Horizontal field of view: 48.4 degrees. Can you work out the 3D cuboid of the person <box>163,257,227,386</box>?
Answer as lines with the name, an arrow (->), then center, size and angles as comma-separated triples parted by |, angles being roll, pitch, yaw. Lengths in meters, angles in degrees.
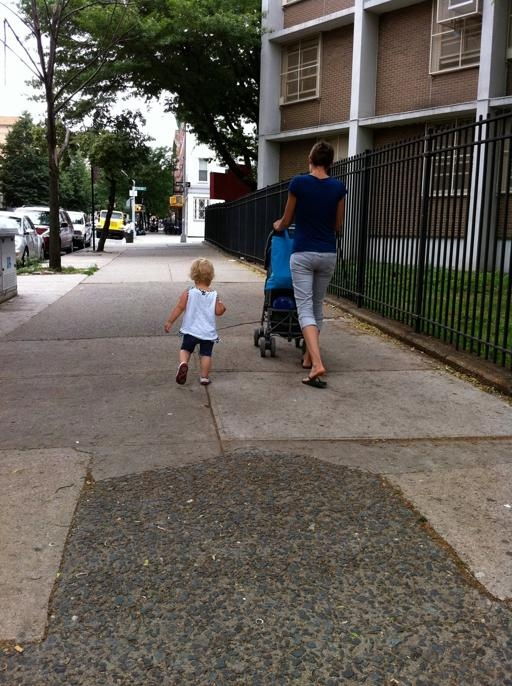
person -> -0.529, -0.167, 4.878 | 0.529, 1.069, 0.441 | -3, 10, -19

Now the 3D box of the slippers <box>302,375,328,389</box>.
slippers -> 0.507, 0.336, 4.965 | 0.088, 0.102, 0.243 | 0, 5, -29

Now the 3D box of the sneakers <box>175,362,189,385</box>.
sneakers -> -0.617, 0.260, 4.754 | 0.085, 0.214, 0.097 | 8, 13, -11

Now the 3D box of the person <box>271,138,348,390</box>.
person -> 0.487, -0.727, 5.151 | 0.589, 2.108, 0.886 | 2, 9, 8
